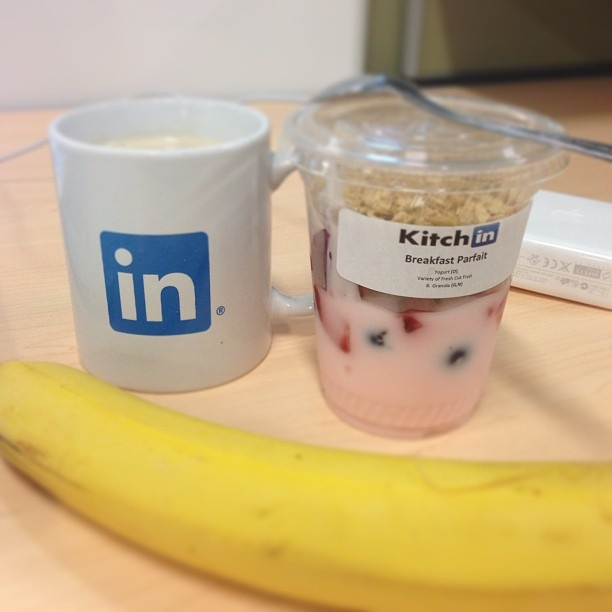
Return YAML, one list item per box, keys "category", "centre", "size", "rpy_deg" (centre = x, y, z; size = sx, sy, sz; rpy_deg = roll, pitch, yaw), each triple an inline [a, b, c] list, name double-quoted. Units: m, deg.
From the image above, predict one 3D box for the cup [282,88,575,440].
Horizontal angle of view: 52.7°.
- category: "cup"
  centre: [0.073, -0.034, 0.383]
  size: [0.195, 0.191, 0.161]
  rpy_deg: [-2, 33, -7]

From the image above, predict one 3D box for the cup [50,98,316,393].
- category: "cup"
  centre: [-0.069, -0.037, 0.381]
  size: [0.147, 0.158, 0.106]
  rpy_deg: [-1, 33, -1]

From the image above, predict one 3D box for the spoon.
- category: "spoon"
  centre: [0.065, -0.084, 0.277]
  size: [0.134, 0.016, 0.022]
  rpy_deg: [22, 61, 25]
